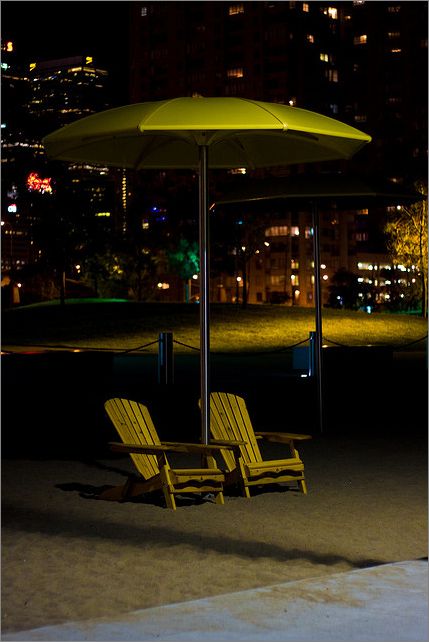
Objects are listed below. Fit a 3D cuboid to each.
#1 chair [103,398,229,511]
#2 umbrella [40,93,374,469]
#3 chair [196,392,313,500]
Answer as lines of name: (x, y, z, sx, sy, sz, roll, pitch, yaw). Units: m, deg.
chair: (-0.553, 1.323, 6.726, 1.190, 1.041, 0.861, -7, -12, 40)
umbrella: (-0.120, -0.817, 7.425, 3.067, 3.185, 3.171, 4, 8, 38)
chair: (0.358, 1.331, 7.197, 0.877, 1.058, 1.206, -1, -6, -22)
